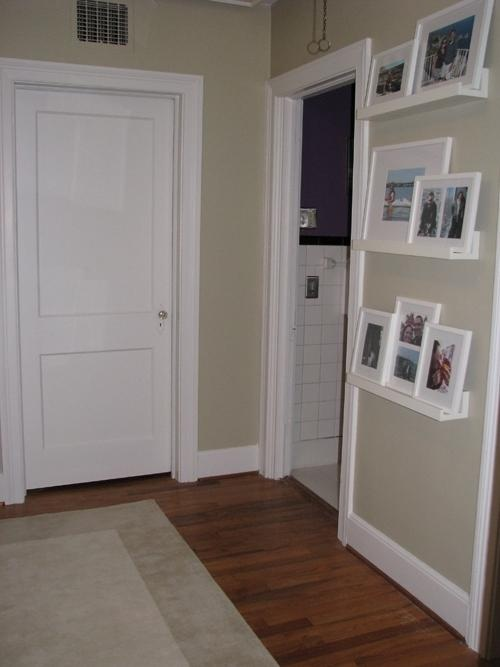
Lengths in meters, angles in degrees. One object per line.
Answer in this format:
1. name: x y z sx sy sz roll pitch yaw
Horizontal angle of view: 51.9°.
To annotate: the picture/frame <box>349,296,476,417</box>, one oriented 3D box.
1. picture/frame: 0.567 0.074 1.764 0.069 0.291 0.392 -2 10 -13
